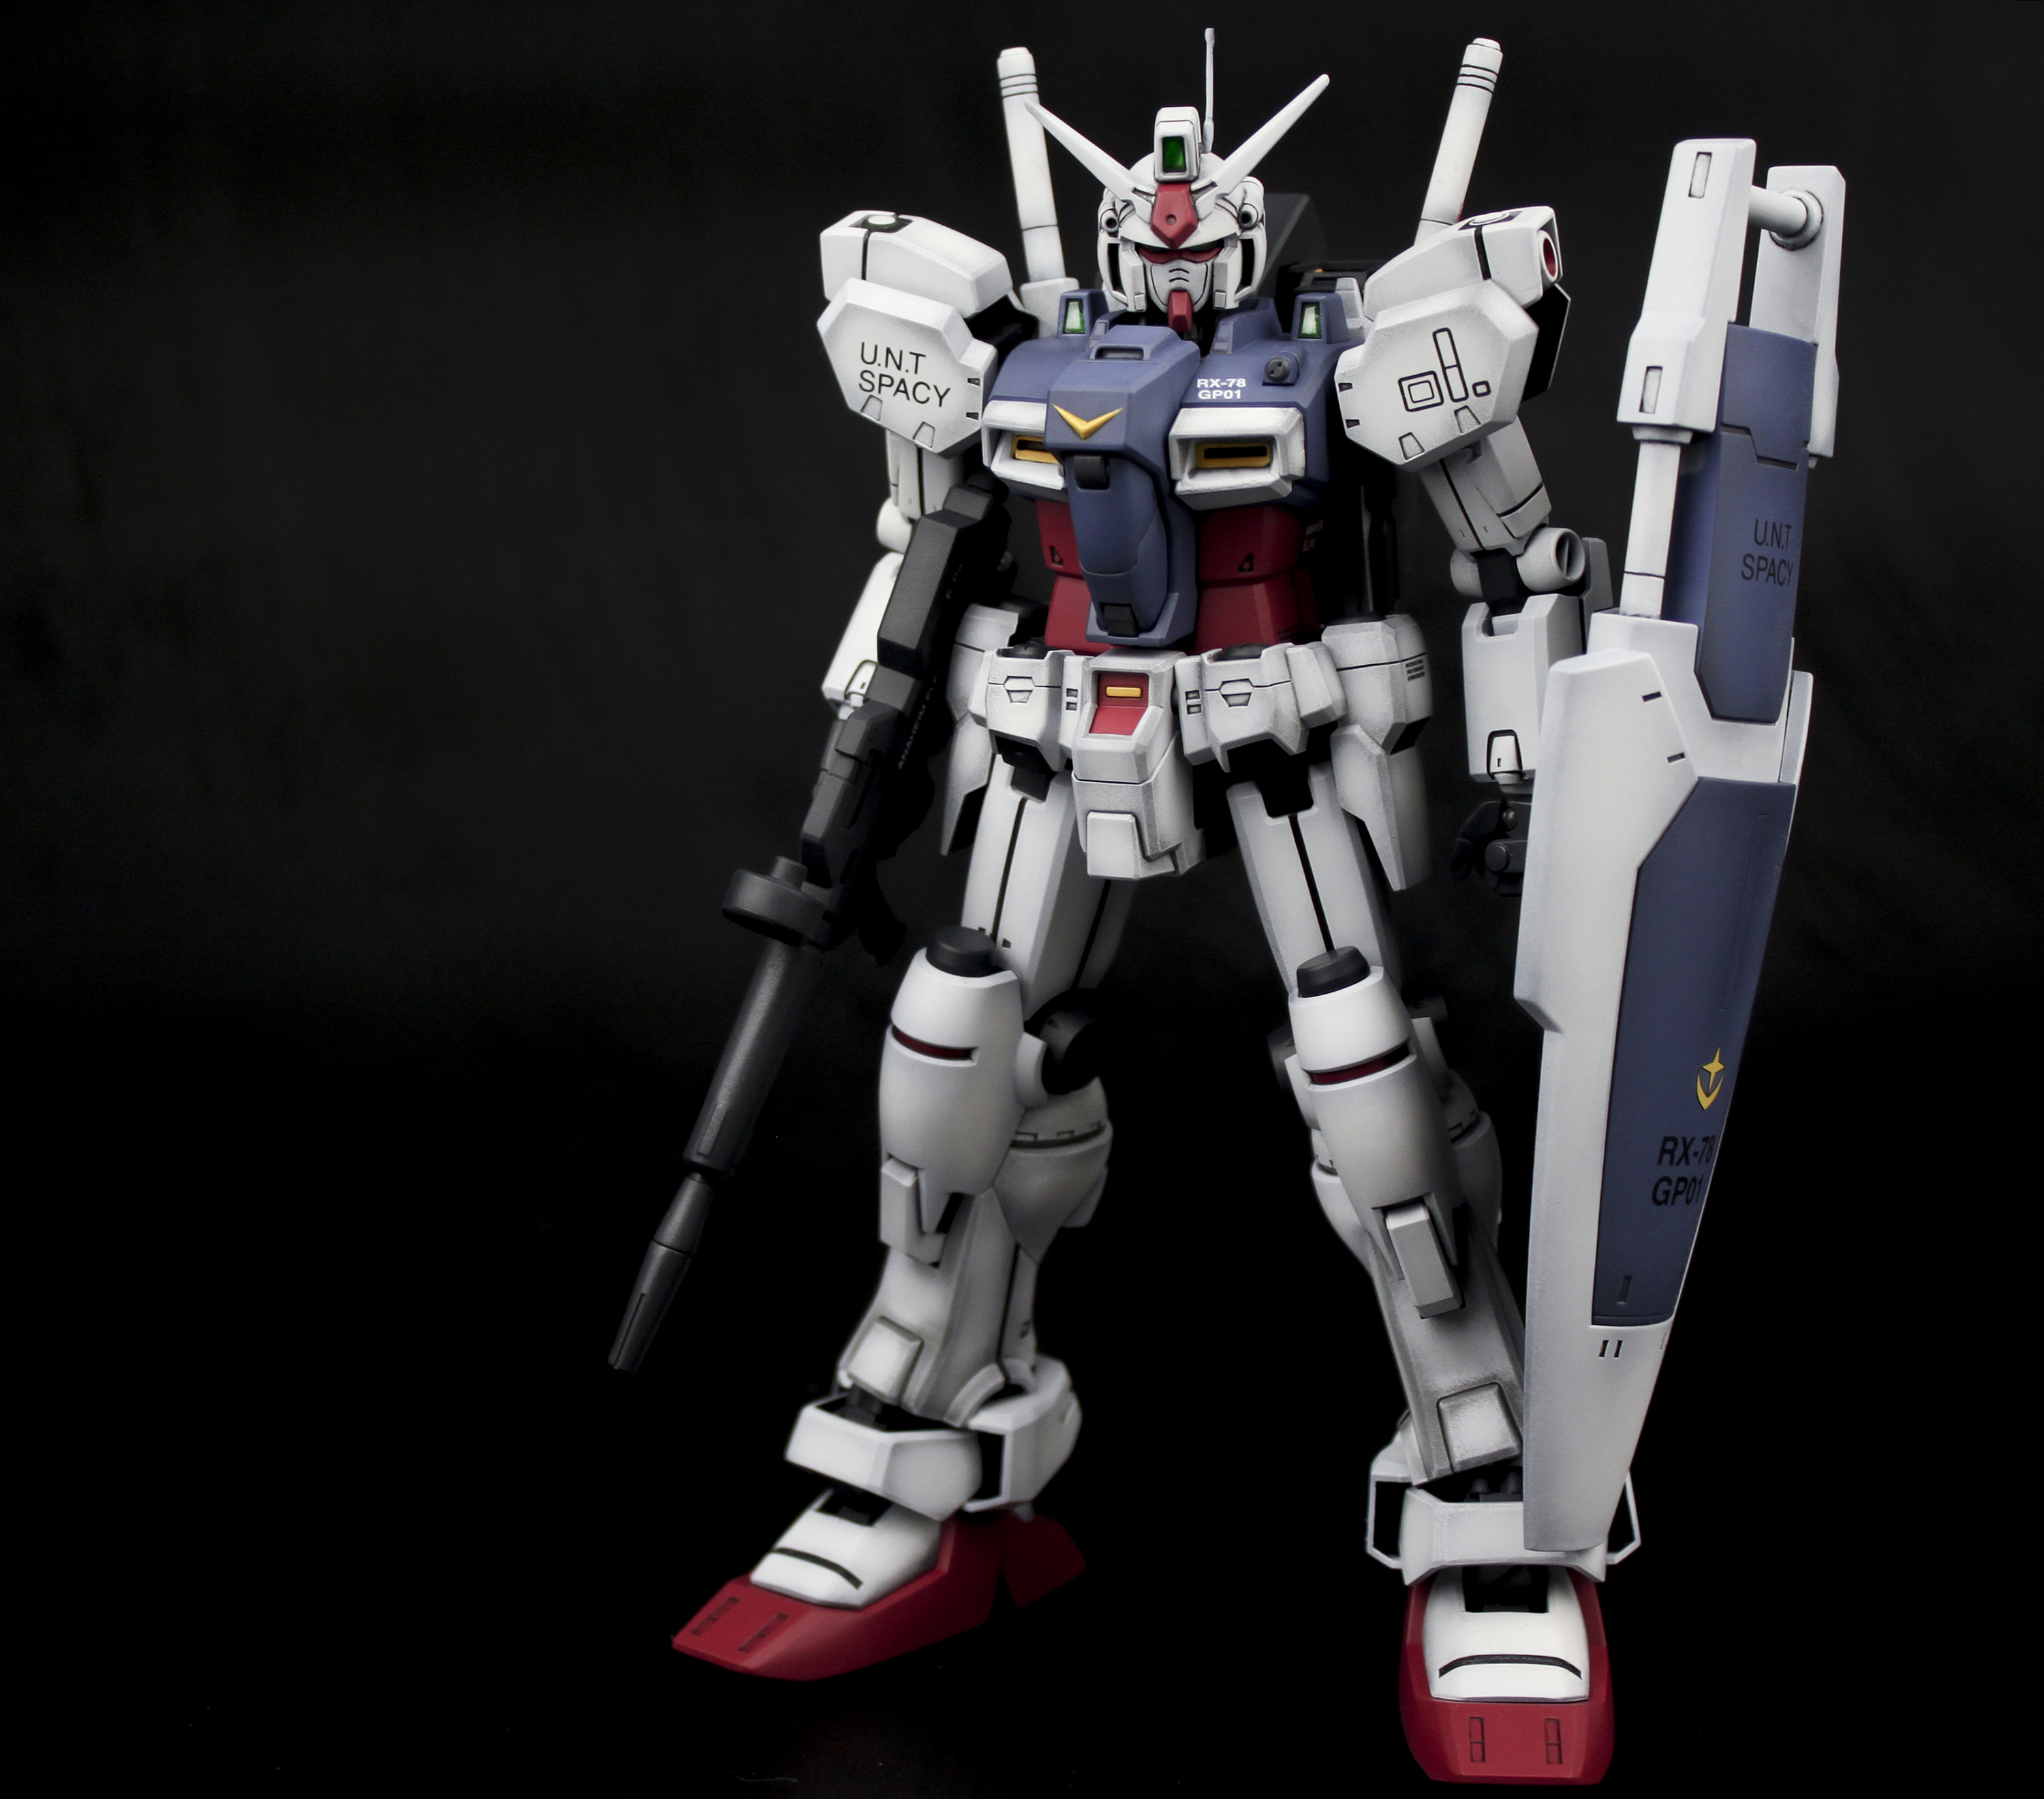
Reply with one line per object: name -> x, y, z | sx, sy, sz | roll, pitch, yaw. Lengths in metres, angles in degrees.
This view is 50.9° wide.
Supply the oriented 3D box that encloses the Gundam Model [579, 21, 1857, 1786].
Gundam Model -> 0.250, 0.018, 2.590 | 1.257, 2.053, 0.536 | 6, 12, 22
